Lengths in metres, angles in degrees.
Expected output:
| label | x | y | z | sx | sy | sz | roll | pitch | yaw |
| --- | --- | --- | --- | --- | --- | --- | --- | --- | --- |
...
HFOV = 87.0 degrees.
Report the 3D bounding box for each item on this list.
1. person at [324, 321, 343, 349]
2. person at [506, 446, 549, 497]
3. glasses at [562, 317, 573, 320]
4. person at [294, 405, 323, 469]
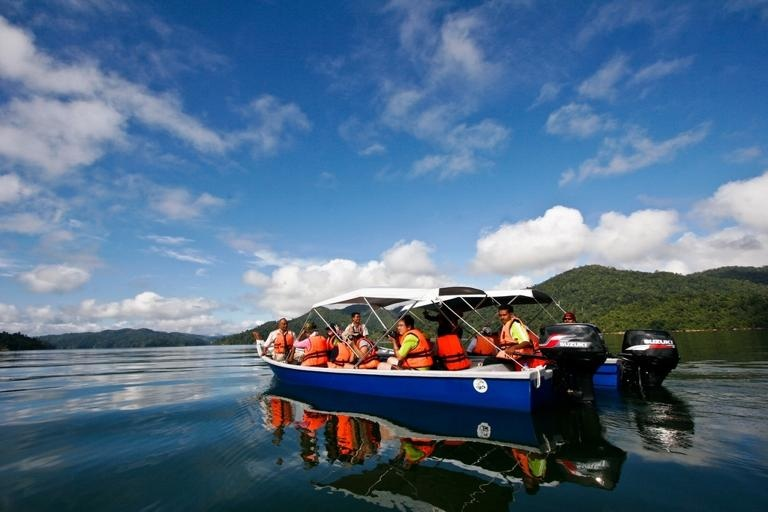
| label | x | y | z | sx | sy | sz | roll | pitch | yaw |
| --- | --- | --- | --- | --- | --- | --- | --- | --- | --- |
| person | -1.785 | 2.922 | 14.841 | 0.392 | 0.945 | 0.674 | -1 | 12 | -20 |
| person | 2.917 | 4.269 | 8.075 | 0.704 | 0.266 | 1.270 | -2 | -3 | 15 |
| glasses | 5.980 | 2.035 | 13.251 | 0.231 | 0.112 | 0.322 | -3 | -9 | 17 |
| person | -1.769 | 4.255 | 9.554 | 0.350 | 0.333 | 1.379 | -15 | 5 | -6 |
